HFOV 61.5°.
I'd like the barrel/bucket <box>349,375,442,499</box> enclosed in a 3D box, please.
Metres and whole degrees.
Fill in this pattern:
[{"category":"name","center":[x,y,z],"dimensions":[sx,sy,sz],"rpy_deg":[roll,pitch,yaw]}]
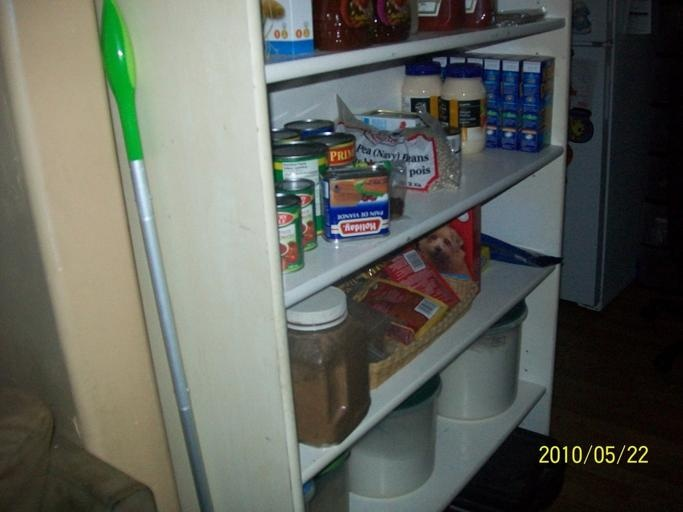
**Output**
[{"category":"barrel/bucket","center":[0.144,0.473,1.597],"dimensions":[0.289,0.286,0.295],"rpy_deg":[-2,18,1]}]

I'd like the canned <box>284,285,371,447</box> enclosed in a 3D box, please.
[{"category":"canned","center":[-0.039,0.223,1.152],"dimensions":[0.163,0.269,0.152],"rpy_deg":[-16,18,-38]}]
